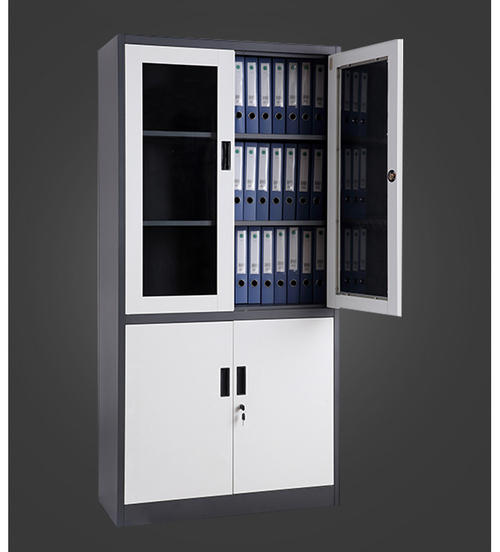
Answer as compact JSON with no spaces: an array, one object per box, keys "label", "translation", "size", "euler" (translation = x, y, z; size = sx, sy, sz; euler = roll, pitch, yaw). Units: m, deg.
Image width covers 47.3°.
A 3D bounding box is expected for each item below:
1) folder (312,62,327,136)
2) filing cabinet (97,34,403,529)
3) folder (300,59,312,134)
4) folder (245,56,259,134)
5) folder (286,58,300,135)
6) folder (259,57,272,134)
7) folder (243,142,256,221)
[{"label":"folder","translation":[0.336,-0.850,2.712],"size":[0.060,0.042,0.378],"euler":[11,-45,18]},{"label":"filing cabinet","translation":[-0.045,0.003,2.757],"size":[0.998,2.189,0.783],"euler":[1,5,5]},{"label":"folder","translation":[0.264,-0.840,2.706],"size":[0.064,0.462,0.043],"euler":[4,-25,-1]},{"label":"folder","translation":[0.010,-0.799,2.632],"size":[0.065,0.406,0.076],"euler":[6,-17,-19]},{"label":"folder","translation":[0.202,-0.826,2.681],"size":[0.059,0.431,0.040],"euler":[0,-23,4]},{"label":"folder","translation":[0.071,-0.818,2.643],"size":[0.063,0.455,0.043],"euler":[1,-25,-2]},{"label":"folder","translation":[0.003,-0.481,2.649],"size":[0.062,0.277,0.047],"euler":[0,-18,-12]}]
